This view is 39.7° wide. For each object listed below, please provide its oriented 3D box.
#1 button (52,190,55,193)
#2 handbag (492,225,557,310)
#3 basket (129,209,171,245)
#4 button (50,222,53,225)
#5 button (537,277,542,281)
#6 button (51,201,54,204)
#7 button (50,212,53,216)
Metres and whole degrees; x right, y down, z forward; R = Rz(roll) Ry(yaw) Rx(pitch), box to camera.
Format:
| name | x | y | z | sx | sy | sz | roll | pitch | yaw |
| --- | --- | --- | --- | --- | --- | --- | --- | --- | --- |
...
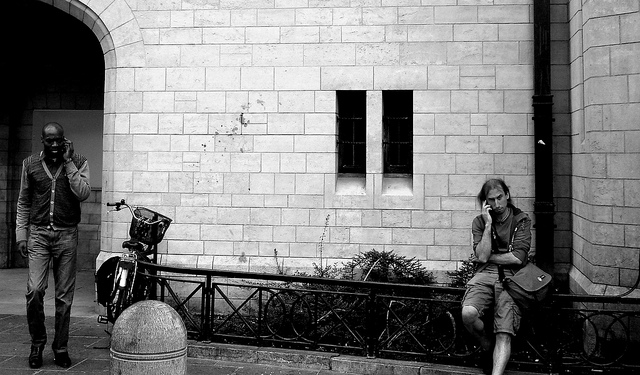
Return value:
| name | x | y | z | sx | sy | sz | roll | pitch | yaw |
| --- | --- | --- | --- | --- | --- | --- | --- | --- | --- |
| button | -4.553 | 0.061 | 15.274 | 0.032 | 0.043 | 0.007 | 3 | -1 | -26 |
| handbag | 3.265 | 1.479 | 14.582 | 0.751 | 1.225 | 0.446 | -39 | -1 | -15 |
| basket | -3.292 | 0.850 | 16.612 | 0.795 | 0.422 | 0.794 | 4 | -7 | -37 |
| button | -4.572 | 0.614 | 15.224 | 0.056 | 0.011 | 0.048 | -3 | -40 | 1 |
| button | 3.592 | 1.497 | 14.549 | 0.062 | 0.043 | 0.011 | 3 | -1 | -3 |
| button | -4.569 | 0.256 | 15.246 | 0.060 | 0.049 | 0.013 | 2 | 3 | -8 |
| button | -4.575 | 0.447 | 15.223 | 0.068 | 0.055 | 0.016 | 0 | 1 | -9 |
